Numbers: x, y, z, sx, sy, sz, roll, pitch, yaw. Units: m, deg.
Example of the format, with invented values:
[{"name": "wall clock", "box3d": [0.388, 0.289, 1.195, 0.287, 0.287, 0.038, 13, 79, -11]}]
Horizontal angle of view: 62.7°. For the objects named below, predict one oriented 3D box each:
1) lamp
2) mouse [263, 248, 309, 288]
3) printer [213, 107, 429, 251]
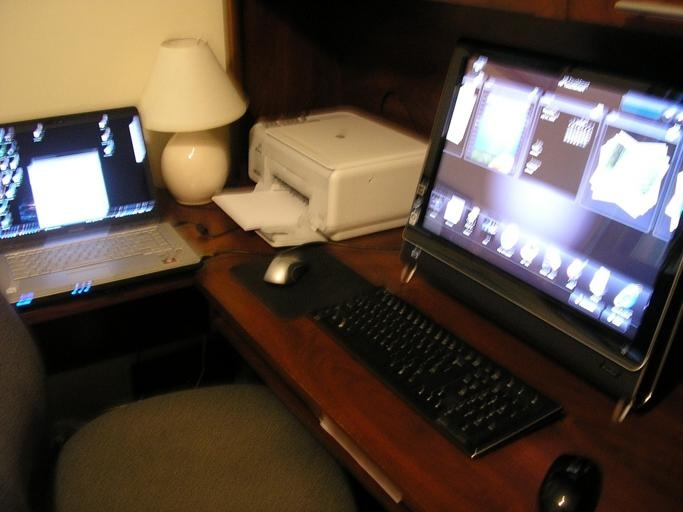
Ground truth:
[{"name": "lamp", "box3d": [-0.467, -0.411, 1.736, 0.308, 0.464, 0.315, 2, 22, 0]}, {"name": "mouse", "box3d": [-0.158, 0.016, 1.433, 0.094, 0.044, 0.133, 13, 30, 10]}, {"name": "printer", "box3d": [-0.049, -0.317, 1.569, 0.472, 0.201, 0.453, -15, 38, -25]}]
